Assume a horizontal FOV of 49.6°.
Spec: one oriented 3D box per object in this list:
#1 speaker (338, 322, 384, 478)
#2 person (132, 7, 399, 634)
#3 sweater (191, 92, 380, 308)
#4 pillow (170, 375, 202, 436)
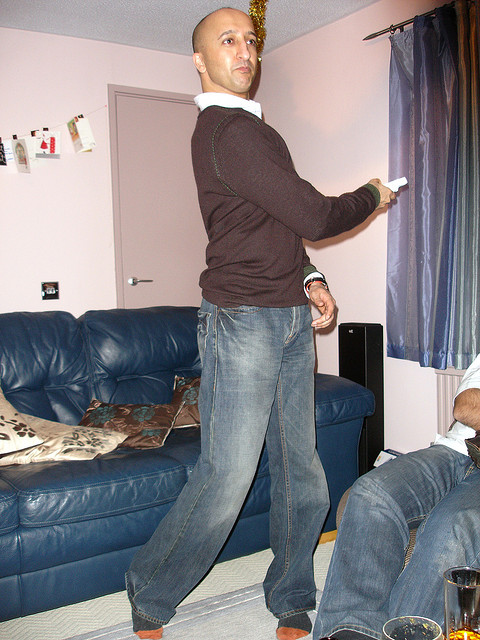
[{"bbox_3d":[0.650,0.409,2.764,0.235,0.771,0.231,-3,4,14],"label":"speaker"},{"bbox_3d":[0.012,0.084,1.558,0.667,1.619,1.089,-4,4,-5],"label":"person"},{"bbox_3d":[0.115,-0.268,1.229,0.406,0.482,0.372,-6,12,-5],"label":"sweater"},{"bbox_3d":[-0.225,0.361,2.199,0.222,0.068,0.228,-11,46,15],"label":"pillow"}]
